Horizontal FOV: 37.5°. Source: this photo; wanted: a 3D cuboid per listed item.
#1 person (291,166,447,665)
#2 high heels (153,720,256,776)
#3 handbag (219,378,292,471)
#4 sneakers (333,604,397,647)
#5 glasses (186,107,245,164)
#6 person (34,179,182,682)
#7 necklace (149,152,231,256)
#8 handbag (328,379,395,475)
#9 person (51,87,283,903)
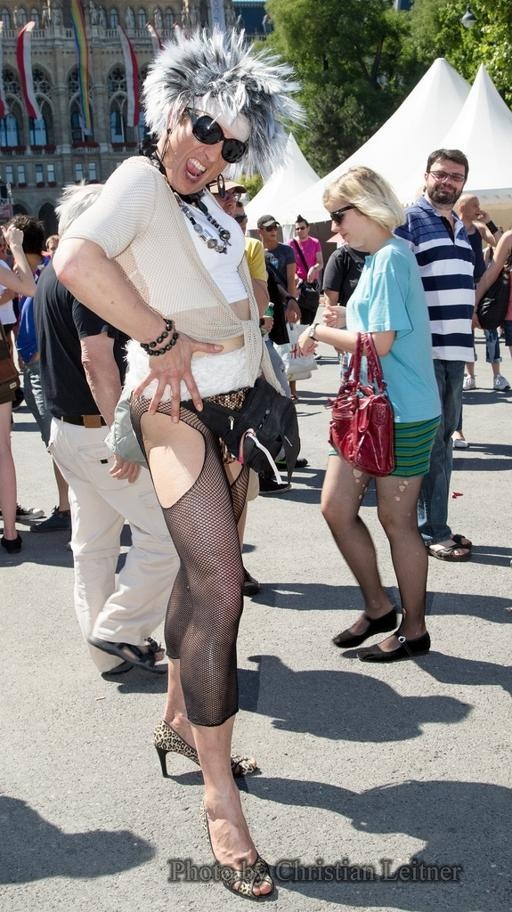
[{"bbox_3d":[0.509,-0.109,3.216,0.631,2.041,0.913,-7,18,-23],"label":"person"},{"bbox_3d":[-0.189,0.915,2.364,0.279,0.137,0.083,6,-14,-26],"label":"high heels"},{"bbox_3d":[0.008,-0.078,1.994,0.185,0.231,0.213,-7,15,-41],"label":"handbag"},{"bbox_3d":[0.488,0.772,3.404,0.359,0.154,0.124,-25,17,16],"label":"sneakers"},{"bbox_3d":[-0.076,-0.755,1.801,0.081,0.106,0.222,0,7,28],"label":"glasses"},{"bbox_3d":[-0.599,-0.123,3.179,0.592,2.071,0.848,-7,8,-24],"label":"person"},{"bbox_3d":[-0.190,-0.598,1.860,0.087,0.250,0.181,-43,8,7],"label":"necklace"},{"bbox_3d":[0.426,-0.128,3.094,0.199,0.400,0.407,0,7,-12],"label":"handbag"},{"bbox_3d":[-0.153,0.044,1.885,0.463,1.944,0.649,-3,6,3],"label":"person"}]
